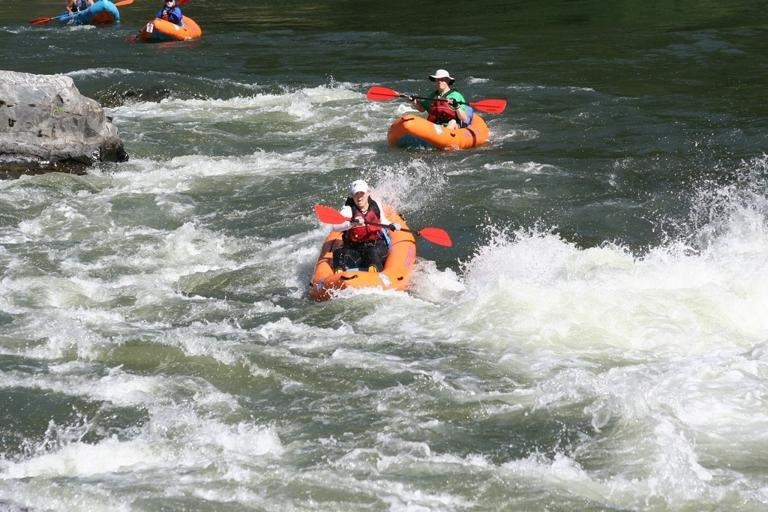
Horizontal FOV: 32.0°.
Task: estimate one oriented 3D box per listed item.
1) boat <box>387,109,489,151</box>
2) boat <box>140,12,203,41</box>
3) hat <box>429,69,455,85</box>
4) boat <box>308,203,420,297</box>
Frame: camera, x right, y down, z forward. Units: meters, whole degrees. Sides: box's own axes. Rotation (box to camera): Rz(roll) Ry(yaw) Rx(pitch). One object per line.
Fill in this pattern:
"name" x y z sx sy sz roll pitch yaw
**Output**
"boat" 1.264 -2.546 27.194 1.060 0.369 1.487 18 14 36
"boat" -5.634 -6.033 35.476 1.456 0.590 0.745 -17 27 -38
"hat" 1.221 -3.674 27.468 0.716 0.210 0.751 5 6 0
"boat" -0.384 0.153 22.981 1.706 0.838 1.645 2 20 7
